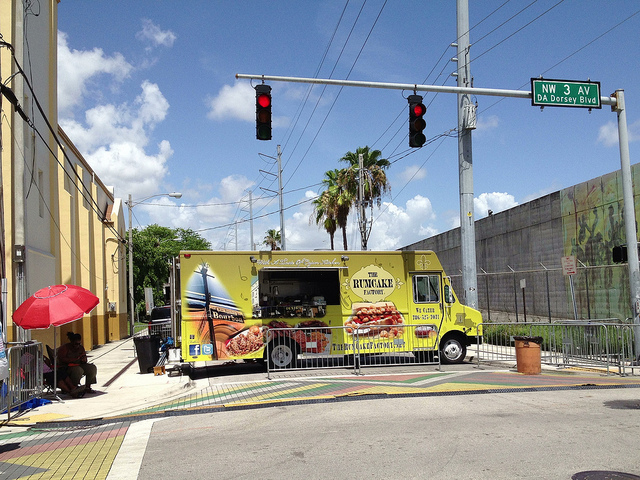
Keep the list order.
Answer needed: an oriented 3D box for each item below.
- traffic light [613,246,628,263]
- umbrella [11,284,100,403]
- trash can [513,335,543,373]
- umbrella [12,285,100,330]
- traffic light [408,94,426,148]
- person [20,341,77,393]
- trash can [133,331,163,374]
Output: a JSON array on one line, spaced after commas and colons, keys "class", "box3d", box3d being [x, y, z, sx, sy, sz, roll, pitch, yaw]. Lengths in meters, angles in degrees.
[{"class": "traffic light", "box3d": [8.734, 0.389, 16.519, 0.276, 0.495, 0.460, -1, -1, -39]}, {"class": "umbrella", "box3d": [-6.672, 2.553, 14.477, 1.810, 2.826, 1.974, -3, 17, -6]}, {"class": "trash can", "box3d": [5.791, 3.111, 15.790, 0.749, 1.044, 0.868, 0, 2, -39]}, {"class": "umbrella", "box3d": [-6.379, 1.576, 13.772, 1.313, 0.579, 1.324, 19, 23, 40]}, {"class": "traffic light", "box3d": [2.604, -3.211, 15.254, 0.404, 1.288, 0.673, -2, -1, 11]}, {"class": "person", "box3d": [-6.505, 3.088, 13.781, 0.795, 1.465, 1.587, -1, -1, -12]}, {"class": "trash can", "box3d": [-5.461, 3.566, 17.996, 0.747, 0.742, 1.044, -1, -1, -18]}]
